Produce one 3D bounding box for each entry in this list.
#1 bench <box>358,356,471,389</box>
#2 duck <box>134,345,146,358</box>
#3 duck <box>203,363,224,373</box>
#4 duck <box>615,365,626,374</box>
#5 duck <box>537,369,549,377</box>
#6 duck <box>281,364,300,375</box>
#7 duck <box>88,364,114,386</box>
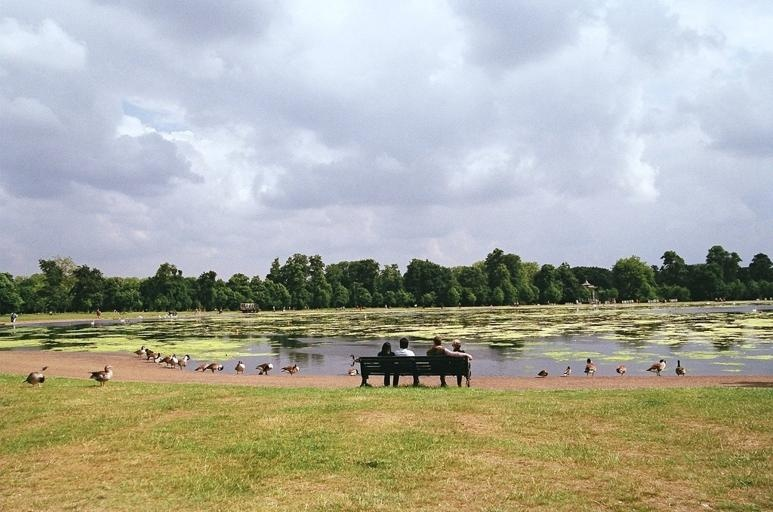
[{"bbox_3d":[1.344,5.589,39.914,5.142,1.463,1.078,-2,-10,14],"label":"bench"},{"bbox_3d":[-16.992,6.652,56.698,0.571,1.306,1.779,1,7,-23],"label":"duck"},{"bbox_3d":[-10.235,6.665,48.724,0.998,0.543,1.447,1,-10,-5],"label":"duck"},{"bbox_3d":[13.236,6.478,46.511,0.487,0.318,0.576,0,-6,-18],"label":"duck"},{"bbox_3d":[8.711,6.598,45.965,0.394,0.298,0.651,-3,-1,1],"label":"duck"},{"bbox_3d":[-5.548,6.625,47.741,1.230,0.671,0.408,2,4,42],"label":"duck"},{"bbox_3d":[-14.136,5.990,40.942,0.874,1.016,1.812,3,-10,-14],"label":"duck"}]
